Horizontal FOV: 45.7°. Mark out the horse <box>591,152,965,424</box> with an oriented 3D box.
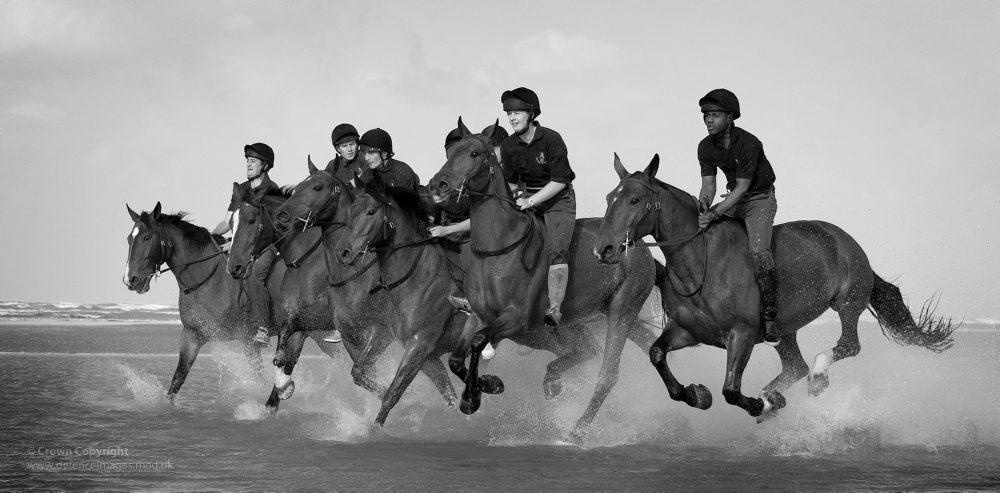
[{"bbox_3d":[5.067,0.953,23.523,6.807,4.947,1.488,6,-6,-28],"label":"horse"}]
